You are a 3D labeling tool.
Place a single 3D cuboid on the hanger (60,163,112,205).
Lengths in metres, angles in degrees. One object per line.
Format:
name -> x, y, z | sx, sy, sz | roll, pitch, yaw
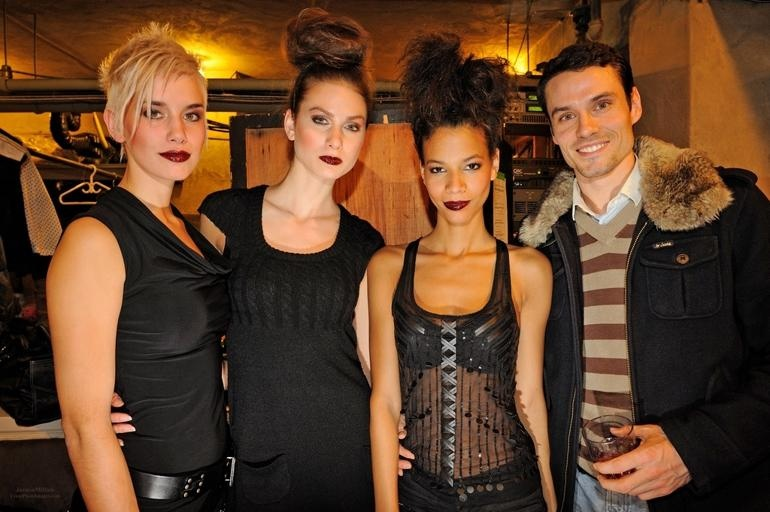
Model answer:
hanger -> -2.931, -0.692, 6.933 | 0.655, 0.387, 0.027 | -6, -7, 0
